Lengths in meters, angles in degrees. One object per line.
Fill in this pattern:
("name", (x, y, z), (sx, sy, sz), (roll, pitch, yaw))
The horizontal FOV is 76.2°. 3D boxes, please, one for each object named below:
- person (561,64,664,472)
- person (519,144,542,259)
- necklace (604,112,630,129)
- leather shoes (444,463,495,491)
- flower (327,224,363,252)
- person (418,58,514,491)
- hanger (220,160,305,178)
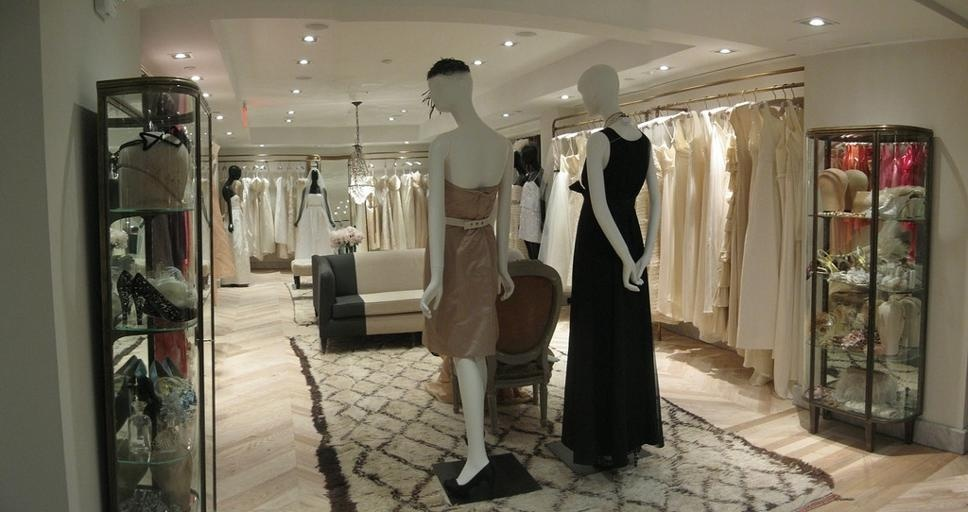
("person", (0.973, 0.062, 4.802), (0.757, 3.052, 0.591), (-1, 8, 14))
("person", (0.647, -0.773, 8.643), (0.369, 1.577, 0.578), (-2, 7, 4))
("necklace", (1.033, -1.049, 4.804), (0.120, 0.056, 0.161), (-25, 18, -31))
("leather shoes", (-0.085, 1.701, 4.832), (0.431, 0.183, 0.146), (-4, -2, -16))
("flower", (-2.190, -0.249, 10.024), (0.531, 0.471, 0.511), (1, -4, -33))
("person", (-0.136, 0.128, 4.789), (0.834, 3.259, 0.430), (-7, 9, -31))
("hanger", (-4.754, -2.039, 13.869), (1.992, 0.621, 0.566), (-3, 5, -14))
